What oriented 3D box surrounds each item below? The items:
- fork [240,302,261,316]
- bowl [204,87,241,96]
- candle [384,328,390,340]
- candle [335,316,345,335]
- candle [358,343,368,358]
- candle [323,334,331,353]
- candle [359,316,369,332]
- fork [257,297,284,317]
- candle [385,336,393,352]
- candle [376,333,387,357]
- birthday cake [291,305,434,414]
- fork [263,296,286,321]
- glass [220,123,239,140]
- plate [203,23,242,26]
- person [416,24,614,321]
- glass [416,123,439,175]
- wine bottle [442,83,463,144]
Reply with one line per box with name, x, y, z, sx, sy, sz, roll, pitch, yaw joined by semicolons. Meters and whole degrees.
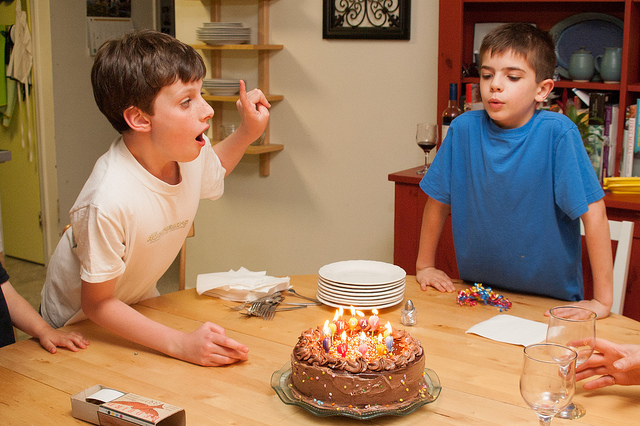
fork;-0.236;0.344;1.821;0.032;0.057;0.015;10;35;-18
bowl;-0.719;-0.910;3.795;0.161;0.044;0.162;0;8;0
candle;0.190;0.345;1.443;0.005;0.019;0.020;12;-2;-16
candle;0.058;0.337;1.505;0.025;0.083;0.025;-8;13;-23
candle;0.116;0.372;1.369;0.026;0.039;0.025;-5;5;-16
candle;0.018;0.356;1.386;0.029;0.055;0.029;-4;11;-16
candle;0.129;0.327;1.494;0.026;0.027;0.028;2;-5;-12
fork;-0.181;0.342;1.861;0.022;0.023;0.157;25;31;15
candle;0.190;0.362;1.393;0.026;0.042;0.025;-6;16;-12
candle;0.173;0.373;1.426;0.028;0.062;0.025;-3;3;9
birthday cake;0.115;0.383;1.506;0.399;0.201;0.331;1;12;3
fork;-0.168;0.342;1.821;0.020;0.016;0.146;15;23;10
glass;-0.694;-0.626;3.867;0.122;0.099;0.121;-3;14;-7
plate;-0.715;-1.371;3.693;0.254;0.023;0.043;0;12;2
person;0.793;-0.082;2.146;0.797;1.421;0.410;4;31;25
glass;0.657;-0.396;3.115;0.122;0.304;0.293;2;12;14
wine bottle;0.807;-0.630;3.083;0.116;0.314;0.200;2;12;14
